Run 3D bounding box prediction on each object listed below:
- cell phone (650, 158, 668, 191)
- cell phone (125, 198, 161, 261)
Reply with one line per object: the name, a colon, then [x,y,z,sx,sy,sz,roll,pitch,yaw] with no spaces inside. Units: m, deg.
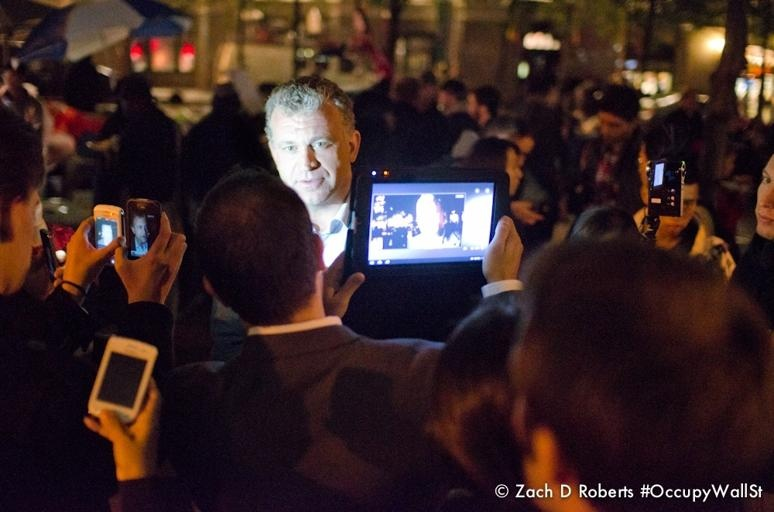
cell phone: [1.313,-0.398,3.594,0.076,0.129,0.057,10,14,33]
cell phone: [-1.116,-0.146,3.434,0.172,0.288,0.139,17,23,34]
